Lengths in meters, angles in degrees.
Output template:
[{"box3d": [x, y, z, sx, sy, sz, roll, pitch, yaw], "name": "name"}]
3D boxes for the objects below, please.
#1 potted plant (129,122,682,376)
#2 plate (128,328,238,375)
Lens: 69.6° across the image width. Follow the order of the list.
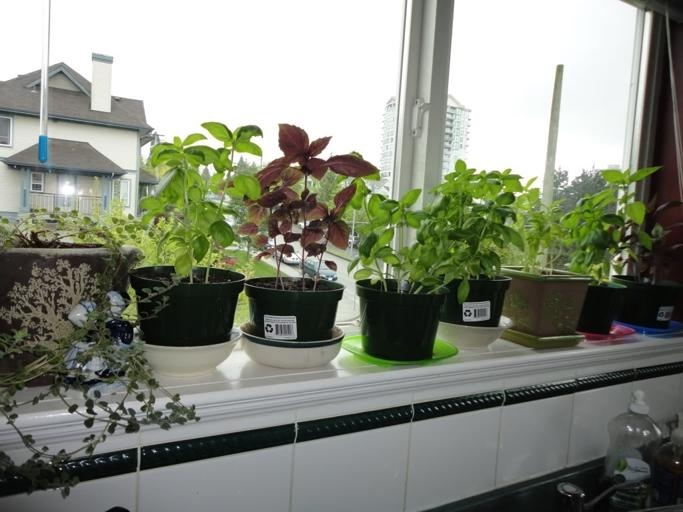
[{"box3d": [0.190, -0.081, 1.483, 1.385, 0.668, 0.460, 0, 10, -9], "name": "potted plant"}, {"box3d": [-0.388, 0.236, 1.230, 0.238, 0.076, 0.232, 4, -4, -33], "name": "plate"}]
